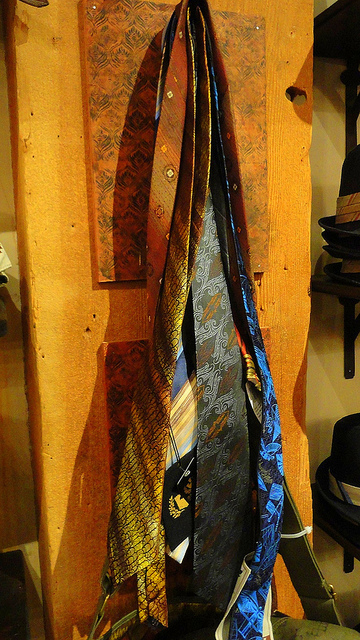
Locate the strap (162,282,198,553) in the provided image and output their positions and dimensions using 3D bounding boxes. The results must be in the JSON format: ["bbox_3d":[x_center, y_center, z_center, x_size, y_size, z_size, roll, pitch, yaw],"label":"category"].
[{"bbox_3d":[0.001,0.124,0.764,0.043,0.342,0.057,0,7,-1],"label":"strap"}]

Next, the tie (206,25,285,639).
[{"bbox_3d":[0.090,0.033,0.740,0.056,0.685,0.113,-7,-3,20],"label":"tie"}]

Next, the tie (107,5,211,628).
[{"bbox_3d":[-0.024,-0.003,0.734,0.135,0.768,0.096,-2,8,-16],"label":"tie"}]

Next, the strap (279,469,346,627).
[{"bbox_3d":[0.174,0.305,0.773,0.087,0.216,0.083,3,8,21],"label":"strap"}]
